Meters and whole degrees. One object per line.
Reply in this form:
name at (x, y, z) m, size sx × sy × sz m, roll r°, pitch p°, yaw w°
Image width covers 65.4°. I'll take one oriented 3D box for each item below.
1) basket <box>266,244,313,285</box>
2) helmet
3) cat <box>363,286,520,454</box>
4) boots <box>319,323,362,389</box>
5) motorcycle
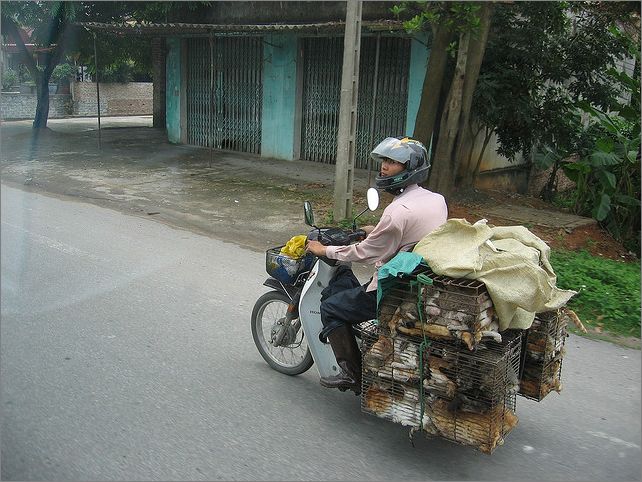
basket at (-0.228, 0.214, 4.516) m, size 0.363 × 0.289 × 0.480 m, roll 16°, pitch 20°, yaw 40°
helmet at (0.644, -0.588, 3.925) m, size 0.474 × 0.456 × 0.357 m, roll -7°, pitch 9°, yaw -21°
cat at (0.830, 0.850, 3.392) m, size 0.990 × 0.793 × 0.576 m, roll 12°, pitch 21°, yaw 37°
boots at (0.213, 0.891, 4.072) m, size 0.222 × 0.598 × 0.407 m, roll -7°, pitch 13°, yaw 3°
motorcycle at (0.378, 0.495, 3.931) m, size 2.133 × 1.591 × 0.853 m, roll 10°, pitch 16°, yaw 28°
